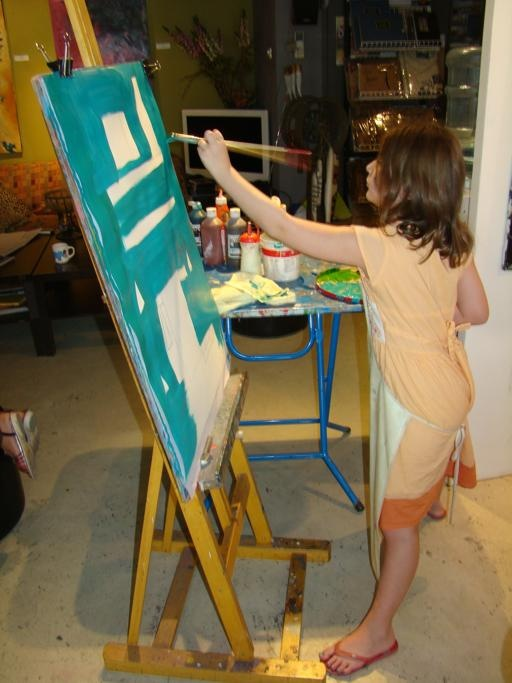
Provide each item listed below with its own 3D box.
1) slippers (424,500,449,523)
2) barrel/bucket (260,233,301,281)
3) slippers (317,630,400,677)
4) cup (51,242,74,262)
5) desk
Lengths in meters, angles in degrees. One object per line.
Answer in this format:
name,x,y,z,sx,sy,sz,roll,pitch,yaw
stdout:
slippers,0.637,0.601,1.798,0.043,0.091,0.032,-26,21,-25
barrel/bucket,0.088,-0.280,1.792,0.125,0.160,0.148,3,36,10
slippers,0.273,0.822,1.330,0.185,0.051,0.091,-14,45,-3
cup,-1.184,-0.539,3.164,0.140,0.154,0.102,3,24,-16
desk,0.211,-0.017,2.151,0.694,0.995,0.994,-1,30,4
